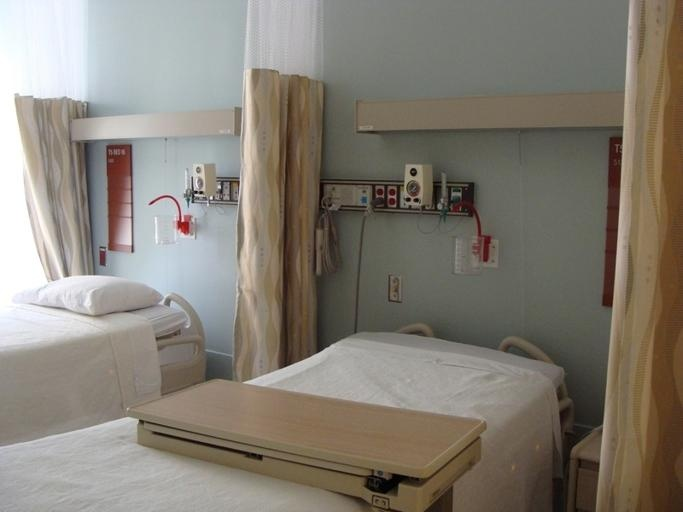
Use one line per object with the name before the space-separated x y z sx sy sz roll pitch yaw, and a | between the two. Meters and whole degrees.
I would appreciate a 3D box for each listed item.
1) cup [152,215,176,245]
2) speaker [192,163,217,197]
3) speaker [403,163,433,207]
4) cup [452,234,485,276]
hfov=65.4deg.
cup | -1.292 -0.198 3.876 0.177 0.226 0.178 1 7 0
speaker | -0.940 -0.509 3.633 0.170 0.245 0.196 -6 11 -16
speaker | 0.422 -0.381 2.913 0.154 0.237 0.112 -2 11 3
cup | 0.693 -0.034 2.942 0.162 0.324 0.184 6 13 25
